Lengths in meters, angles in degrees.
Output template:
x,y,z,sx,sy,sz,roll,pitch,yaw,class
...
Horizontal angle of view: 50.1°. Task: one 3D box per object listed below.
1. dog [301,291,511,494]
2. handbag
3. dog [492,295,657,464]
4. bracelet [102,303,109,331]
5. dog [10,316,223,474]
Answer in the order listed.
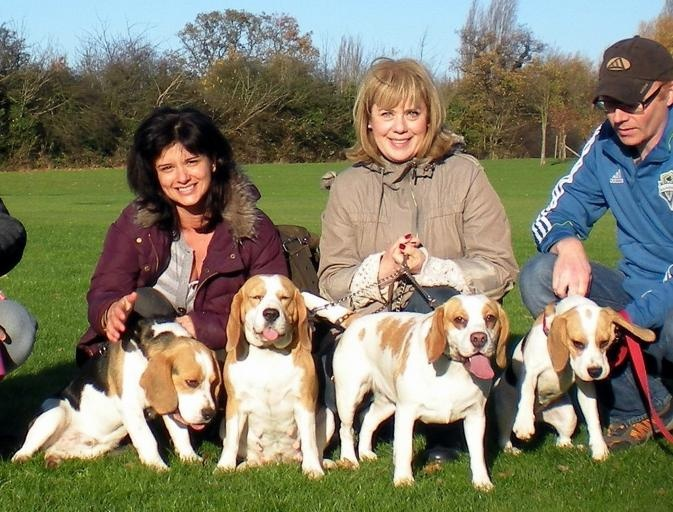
x,y,z,sx,sy,sz,roll,pitch,yaw,class
0.573,1.013,5.535,0.587,1.433,1.832,1,-3,-32,dog
-0.351,0.067,6.480,0.331,0.628,0.396,-23,-19,19,handbag
1.729,0.979,5.683,0.642,1.304,1.613,3,-6,-7,dog
-1.824,0.497,5.692,0.046,0.141,0.120,10,-22,-12,bracelet
-1.689,1.048,5.650,1.420,0.944,0.967,-6,-9,35,dog
